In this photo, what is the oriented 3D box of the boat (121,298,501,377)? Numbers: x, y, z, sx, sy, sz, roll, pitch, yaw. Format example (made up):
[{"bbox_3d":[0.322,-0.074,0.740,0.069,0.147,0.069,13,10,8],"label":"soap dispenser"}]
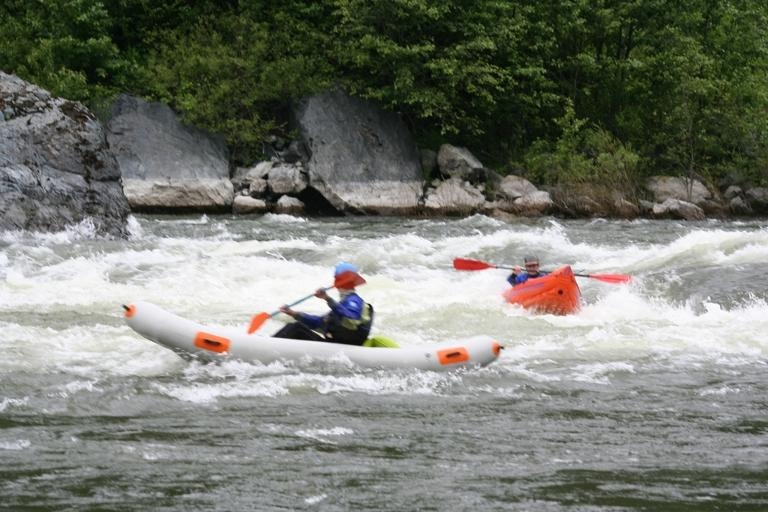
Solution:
[{"bbox_3d":[-1.440,2.195,33.013,10.077,1.336,1.537,5,-5,-26],"label":"boat"}]

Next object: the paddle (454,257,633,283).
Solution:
[{"bbox_3d":[4.283,0.397,36.967,5.017,0.475,0.299,5,-3,12],"label":"paddle"}]
